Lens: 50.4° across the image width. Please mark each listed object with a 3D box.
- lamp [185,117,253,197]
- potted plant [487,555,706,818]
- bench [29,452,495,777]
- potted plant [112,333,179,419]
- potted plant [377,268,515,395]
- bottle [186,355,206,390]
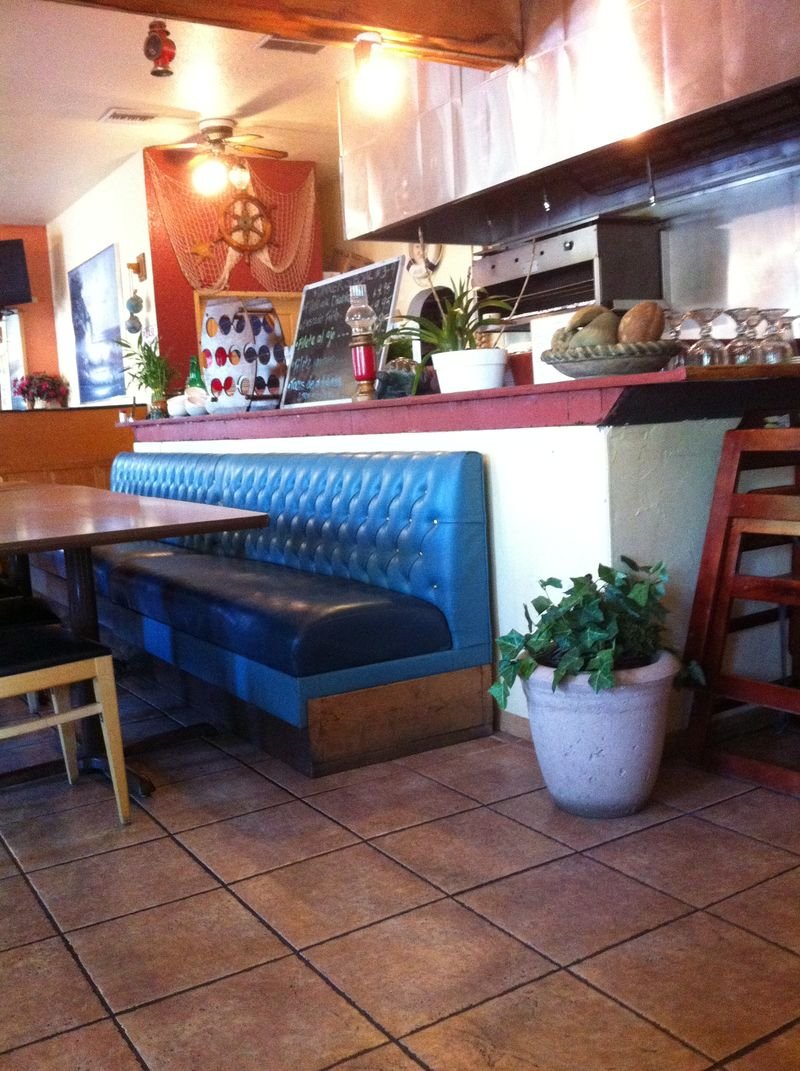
[{"bbox_3d":[-1.576,-3.211,7.454,0.486,0.740,1.308,-4,3,-12],"label":"lamp"},{"bbox_3d":[0.465,0.340,1.972,0.429,0.560,0.339,-6,4,-34],"label":"potted plant"},{"bbox_3d":[-1.076,0.055,3.829,0.691,0.763,2.235,-15,14,-35],"label":"bench"},{"bbox_3d":[-1.521,-1.033,5.358,0.346,0.563,0.423,-5,-6,4],"label":"potted plant"},{"bbox_3d":[0.199,-0.620,2.717,0.449,0.362,0.371,1,11,34],"label":"potted plant"},{"bbox_3d":[-1.146,-0.928,4.799,0.086,0.252,0.498,-5,3,-13],"label":"bottle"}]
